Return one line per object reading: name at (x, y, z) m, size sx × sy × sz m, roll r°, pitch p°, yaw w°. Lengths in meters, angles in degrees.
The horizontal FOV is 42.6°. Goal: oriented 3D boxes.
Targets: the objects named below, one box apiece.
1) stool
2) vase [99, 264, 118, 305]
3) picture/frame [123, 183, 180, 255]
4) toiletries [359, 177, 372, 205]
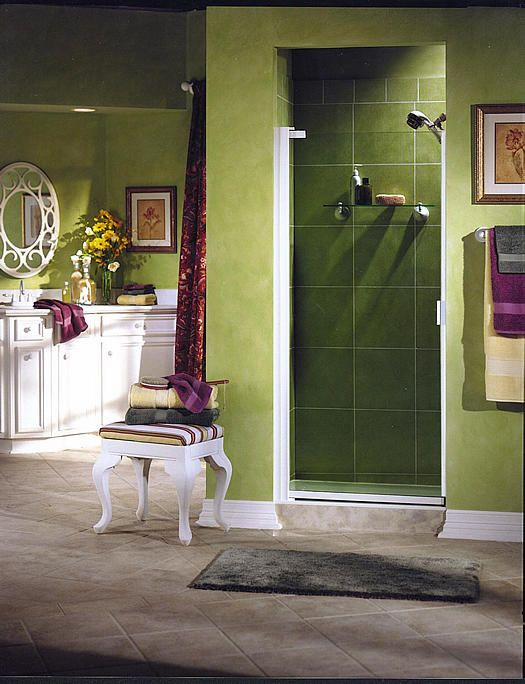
stool at (-0.421, 0.506, 2.894) m, size 0.584 × 0.491 × 0.519 m, roll 1°, pitch 0°, yaw 18°
vase at (-1.203, -0.456, 5.297) m, size 0.115 × 0.316 × 0.200 m, roll 0°, pitch -1°, yaw -13°
picture/frame at (-0.867, -0.998, 5.356) m, size 0.611 × 0.693 × 0.054 m, roll 0°, pitch 4°, yaw 6°
toiletries at (0.504, -0.737, 3.296) m, size 0.062 × 0.146 × 0.040 m, roll -1°, pitch -2°, yaw 8°
